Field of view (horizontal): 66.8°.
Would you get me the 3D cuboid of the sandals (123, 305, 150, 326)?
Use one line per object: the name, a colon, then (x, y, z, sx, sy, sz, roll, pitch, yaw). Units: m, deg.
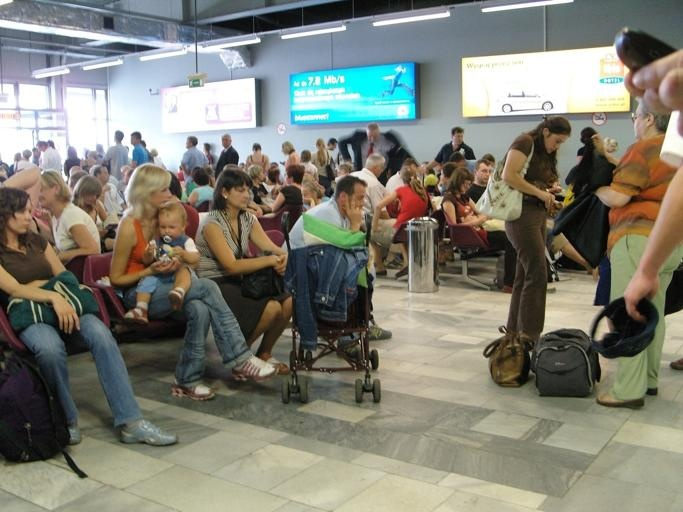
sandals: (-1.323, 0.387, 3.338, 0.092, 0.071, 0.164, 7, -1, -4)

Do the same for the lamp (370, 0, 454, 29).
lamp: (1.959, -6.359, 13.673, 1.931, 0.224, 0.342, 2, 4, 38)

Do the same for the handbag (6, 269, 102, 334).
handbag: (-1.627, 0.277, 2.903, 0.352, 0.352, 0.154, -17, -25, -34)

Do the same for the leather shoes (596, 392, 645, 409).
leather shoes: (1.751, 0.915, 3.278, 0.271, 0.118, 0.110, 2, -1, 12)

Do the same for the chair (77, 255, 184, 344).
chair: (-1.514, 0.226, 3.711, 0.438, 0.505, 0.578, 3, 11, 24)

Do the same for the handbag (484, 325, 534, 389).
handbag: (1.230, 0.741, 3.805, 0.319, 0.452, 0.454, 8, -1, 19)

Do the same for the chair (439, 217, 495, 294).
chair: (1.713, -0.033, 7.146, 0.890, 1.105, 0.981, 1, 3, 19)

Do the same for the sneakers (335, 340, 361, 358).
sneakers: (0.057, 0.706, 3.952, 0.115, 0.118, 0.276, 1, 2, 11)

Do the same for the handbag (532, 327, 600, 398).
handbag: (1.549, 0.736, 3.647, 0.491, 0.425, 0.586, -4, 4, 43)

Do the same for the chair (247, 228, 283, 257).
chair: (-0.650, -0.126, 4.540, 0.231, 0.307, 0.258, 1, 6, 2)

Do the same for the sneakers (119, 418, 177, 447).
sneakers: (-1.063, 0.967, 2.907, 0.340, 0.150, 0.132, 3, 5, -3)

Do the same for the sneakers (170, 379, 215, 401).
sneakers: (-0.999, 0.894, 3.485, 0.260, 0.108, 0.127, 0, 6, 13)

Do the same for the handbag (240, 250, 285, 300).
handbag: (-0.571, 0.197, 3.702, 0.215, 0.212, 0.160, -5, 3, -29)

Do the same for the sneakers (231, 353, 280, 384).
sneakers: (-0.614, 0.774, 3.518, 0.359, 0.183, 0.173, -3, 7, 9)

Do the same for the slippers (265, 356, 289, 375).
slippers: (-0.464, 0.804, 3.811, 0.166, 0.071, 0.104, 30, 5, -16)

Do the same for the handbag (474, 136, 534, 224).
handbag: (1.318, -0.602, 4.116, 0.262, 0.707, 0.476, 7, 14, -15)
